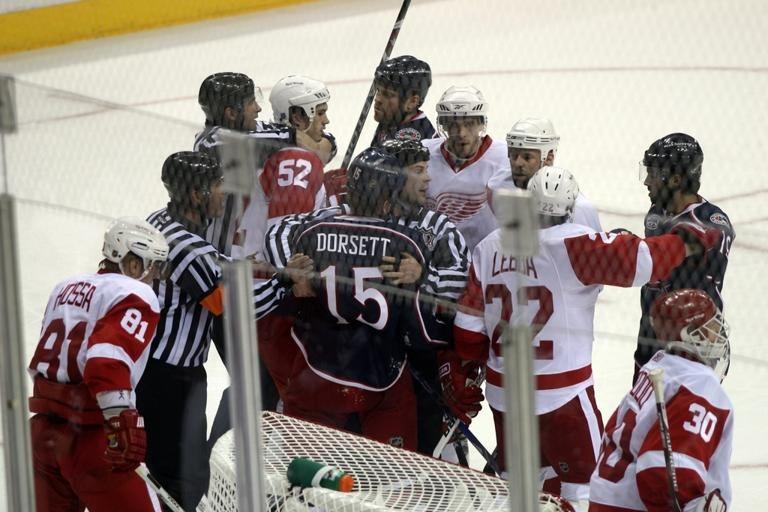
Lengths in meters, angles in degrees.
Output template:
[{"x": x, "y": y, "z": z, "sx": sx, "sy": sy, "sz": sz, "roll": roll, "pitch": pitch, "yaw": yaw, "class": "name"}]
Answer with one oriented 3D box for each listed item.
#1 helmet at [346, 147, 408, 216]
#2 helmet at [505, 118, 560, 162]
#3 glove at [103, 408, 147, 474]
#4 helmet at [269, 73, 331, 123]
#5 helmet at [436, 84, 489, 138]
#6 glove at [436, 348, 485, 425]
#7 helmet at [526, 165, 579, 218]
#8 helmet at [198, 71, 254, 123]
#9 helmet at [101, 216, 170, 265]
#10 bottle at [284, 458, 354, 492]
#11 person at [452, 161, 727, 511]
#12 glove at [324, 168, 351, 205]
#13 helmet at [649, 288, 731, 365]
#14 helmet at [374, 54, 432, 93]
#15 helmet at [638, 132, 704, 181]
[{"x": -0.034, "y": -0.261, "z": 4.597, "sx": 0.184, "sy": 0.258, "sz": 0.225, "roll": 6, "pitch": -2, "yaw": -26, "class": "helmet"}, {"x": 0.668, "y": -0.510, "z": 5.356, "sx": 0.188, "sy": 0.222, "sz": 0.240, "roll": 14, "pitch": 14, "yaw": 36, "class": "helmet"}, {"x": -1.003, "y": 0.723, "z": 4.681, "sx": 0.132, "sy": 0.233, "sz": 0.154, "roll": -11, "pitch": -12, "yaw": 25, "class": "glove"}, {"x": -0.400, "y": -0.744, "z": 5.822, "sx": 0.276, "sy": 0.247, "sz": 0.233, "roll": -4, "pitch": 22, "yaw": 5, "class": "helmet"}, {"x": 0.361, "y": -0.647, "z": 5.538, "sx": 0.241, "sy": 0.279, "sz": 0.294, "roll": 1, "pitch": 12, "yaw": 1, "class": "helmet"}, {"x": 0.289, "y": 0.504, "z": 4.509, "sx": 0.105, "sy": 0.257, "sz": 0.253, "roll": -13, "pitch": 19, "yaw": -33, "class": "glove"}, {"x": 0.665, "y": -0.224, "z": 4.793, "sx": 0.189, "sy": 0.238, "sz": 0.236, "roll": 10, "pitch": 23, "yaw": 17, "class": "helmet"}, {"x": -0.772, "y": -0.741, "z": 5.800, "sx": 0.269, "sy": 0.263, "sz": 0.223, "roll": -3, "pitch": 21, "yaw": -12, "class": "helmet"}, {"x": -0.982, "y": -0.040, "z": 4.782, "sx": 0.245, "sy": 0.214, "sz": 0.211, "roll": 13, "pitch": 16, "yaw": -18, "class": "helmet"}, {"x": -0.235, "y": 0.789, "z": 4.324, "sx": 0.246, "sy": 0.107, "sz": 0.064, "roll": 0, "pitch": -5, "yaw": 26, "class": "bottle"}, {"x": 0.755, "y": 0.349, "z": 4.359, "sx": 0.900, "sy": 1.520, "sz": 0.603, "roll": 11, "pitch": 26, "yaw": 38, "class": "person"}, {"x": -0.199, "y": -0.281, "z": 4.905, "sx": 0.106, "sy": 0.154, "sz": 0.160, "roll": 1, "pitch": -35, "yaw": -1, "class": "glove"}, {"x": 1.075, "y": 0.258, "z": 4.297, "sx": 0.154, "sy": 0.282, "sz": 0.442, "roll": -2, "pitch": -6, "yaw": 45, "class": "helmet"}, {"x": 0.092, "y": -0.834, "z": 5.623, "sx": 0.207, "sy": 0.177, "sz": 0.165, "roll": 22, "pitch": 30, "yaw": -31, "class": "helmet"}, {"x": 1.203, "y": -0.394, "z": 5.040, "sx": 0.272, "sy": 0.242, "sz": 0.218, "roll": 3, "pitch": 8, "yaw": 34, "class": "helmet"}]
